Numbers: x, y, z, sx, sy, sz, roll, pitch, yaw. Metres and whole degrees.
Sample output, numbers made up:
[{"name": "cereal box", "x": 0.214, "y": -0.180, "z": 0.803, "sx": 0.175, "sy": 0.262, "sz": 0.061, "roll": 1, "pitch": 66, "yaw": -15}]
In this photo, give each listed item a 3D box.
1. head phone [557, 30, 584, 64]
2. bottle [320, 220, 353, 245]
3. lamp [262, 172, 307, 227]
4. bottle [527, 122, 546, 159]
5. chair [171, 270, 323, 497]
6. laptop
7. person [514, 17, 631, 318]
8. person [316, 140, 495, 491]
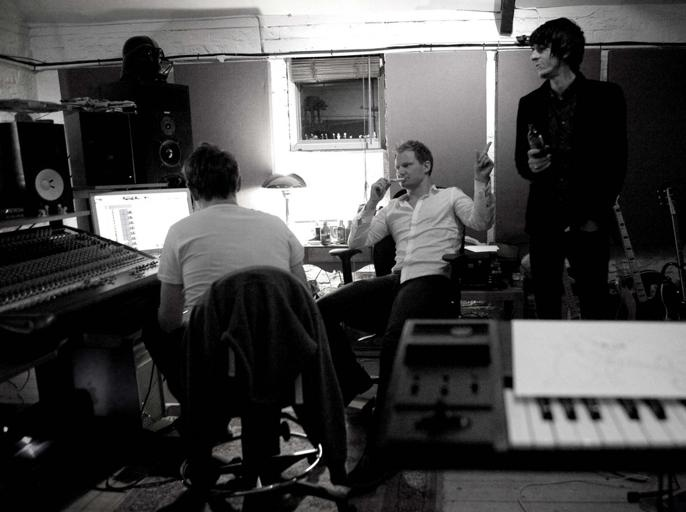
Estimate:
[{"name": "head phone", "x": 1.056, "y": -0.976, "z": 2.756, "sx": 0.120, "sy": 0.154, "sz": 0.157, "roll": 1, "pitch": 6, "yaw": 21}, {"name": "bottle", "x": -0.059, "y": -0.186, "z": 4.815, "sx": 0.225, "sy": 0.220, "sz": 0.223, "roll": 1, "pitch": 6, "yaw": 10}, {"name": "lamp", "x": -0.450, "y": -0.475, "z": 4.851, "sx": 0.410, "sy": 0.577, "sz": 0.391, "roll": -1, "pitch": 3, "yaw": -5}, {"name": "bottle", "x": 0.902, "y": -0.532, "z": 2.689, "sx": 0.084, "sy": 0.150, "sz": 0.292, "roll": 1, "pitch": 11, "yaw": 17}, {"name": "chair", "x": -0.378, "y": 0.566, "z": 2.298, "sx": 0.613, "sy": 0.816, "sz": 0.570, "roll": 0, "pitch": -19, "yaw": -38}, {"name": "laptop", "x": -1.118, "y": -0.191, "z": 3.514, "sx": 0.695, "sy": 0.428, "sz": 0.481, "roll": -7, "pitch": 8, "yaw": -35}, {"name": "person", "x": 1.053, "y": -0.406, "z": 2.697, "sx": 0.488, "sy": 1.366, "sz": 0.385, "roll": 1, "pitch": 11, "yaw": 16}, {"name": "person", "x": 0.320, "y": 0.130, "z": 3.028, "sx": 0.903, "sy": 1.418, "sz": 1.265, "roll": 0, "pitch": 11, "yaw": 13}]
